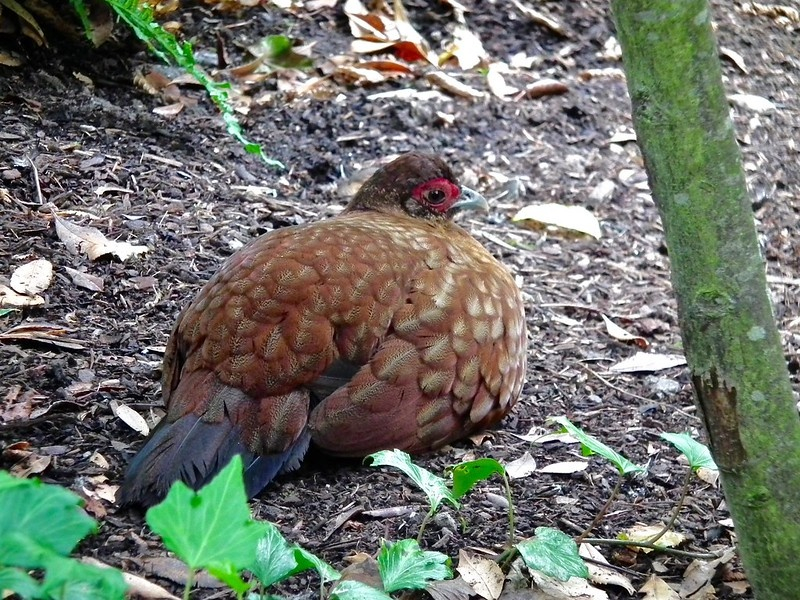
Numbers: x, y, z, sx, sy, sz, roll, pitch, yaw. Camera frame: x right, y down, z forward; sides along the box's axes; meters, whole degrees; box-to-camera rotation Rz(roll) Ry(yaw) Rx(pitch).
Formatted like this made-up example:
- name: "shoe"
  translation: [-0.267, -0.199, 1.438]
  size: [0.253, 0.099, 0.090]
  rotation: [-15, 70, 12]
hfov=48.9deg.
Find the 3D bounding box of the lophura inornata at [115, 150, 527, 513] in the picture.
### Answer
- name: "lophura inornata"
  translation: [-0.317, 0.052, 3.393]
  size: [1.088, 0.777, 1.531]
  rotation: [23, 30, 39]
